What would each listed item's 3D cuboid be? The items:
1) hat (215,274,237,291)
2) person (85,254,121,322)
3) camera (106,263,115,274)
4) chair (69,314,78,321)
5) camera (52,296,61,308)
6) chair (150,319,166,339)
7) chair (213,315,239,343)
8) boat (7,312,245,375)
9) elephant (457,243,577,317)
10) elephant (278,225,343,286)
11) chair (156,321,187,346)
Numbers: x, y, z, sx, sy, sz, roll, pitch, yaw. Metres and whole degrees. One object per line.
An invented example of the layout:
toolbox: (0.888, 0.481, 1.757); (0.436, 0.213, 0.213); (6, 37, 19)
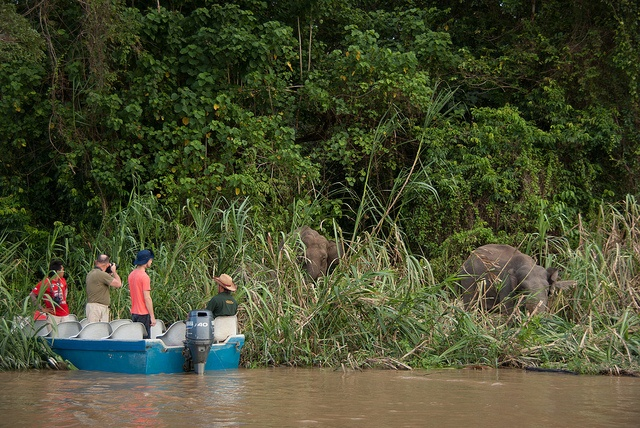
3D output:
hat: (-1.745, 1.250, 14.776); (0.322, 0.126, 0.283); (39, 11, 26)
person: (-4.180, 1.432, 15.426); (0.632, 1.289, 0.404); (0, -1, -19)
camera: (-4.211, 1.109, 15.975); (0.183, 0.281, 0.223); (-3, 3, -20)
chair: (-4.882, 2.022, 15.838); (0.124, 0.148, 0.112); (28, -12, -40)
camera: (-5.033, 1.673, 15.357); (0.121, 0.195, 0.170); (-4, -9, 33)
chair: (-3.073, 2.195, 15.121); (0.246, 0.393, 0.268); (0, -4, 8)
chair: (-1.736, 2.109, 14.538); (0.370, 0.577, 0.408); (3, -3, -23)
boat: (-3.502, 2.493, 14.596); (2.886, 0.885, 1.846); (-4, -13, 25)
elephant: (4.189, 1.501, 17.706); (0.890, 1.696, 2.624); (-23, 34, -37)
elephant: (-0.198, 1.199, 19.795); (1.130, 1.750, 2.522); (5, 11, -4)
chair: (-2.774, 2.223, 14.942); (0.452, 0.475, 0.423); (3, -8, -1)
